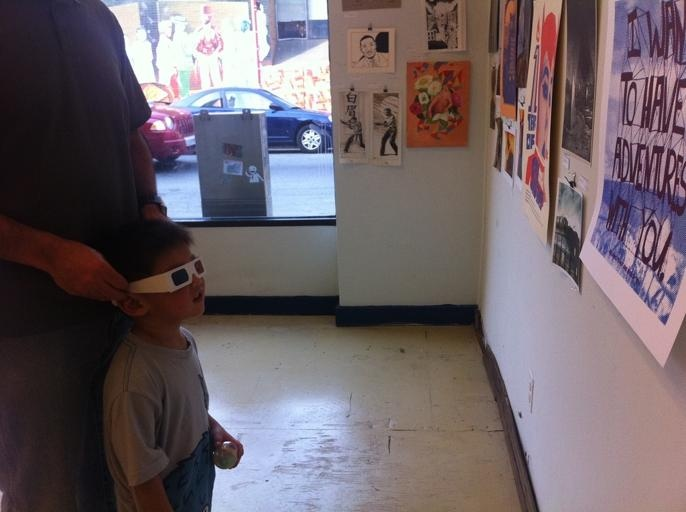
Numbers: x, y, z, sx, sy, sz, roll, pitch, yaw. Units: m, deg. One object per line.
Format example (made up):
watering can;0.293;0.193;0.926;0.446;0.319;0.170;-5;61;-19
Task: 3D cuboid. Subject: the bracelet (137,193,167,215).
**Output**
bracelet;-0.586;-0.167;1.633;0.073;0.076;0.052;-13;57;-5

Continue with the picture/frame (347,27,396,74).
picture/frame;0.157;-1.132;2.898;0.216;0.202;0.024;1;13;5
